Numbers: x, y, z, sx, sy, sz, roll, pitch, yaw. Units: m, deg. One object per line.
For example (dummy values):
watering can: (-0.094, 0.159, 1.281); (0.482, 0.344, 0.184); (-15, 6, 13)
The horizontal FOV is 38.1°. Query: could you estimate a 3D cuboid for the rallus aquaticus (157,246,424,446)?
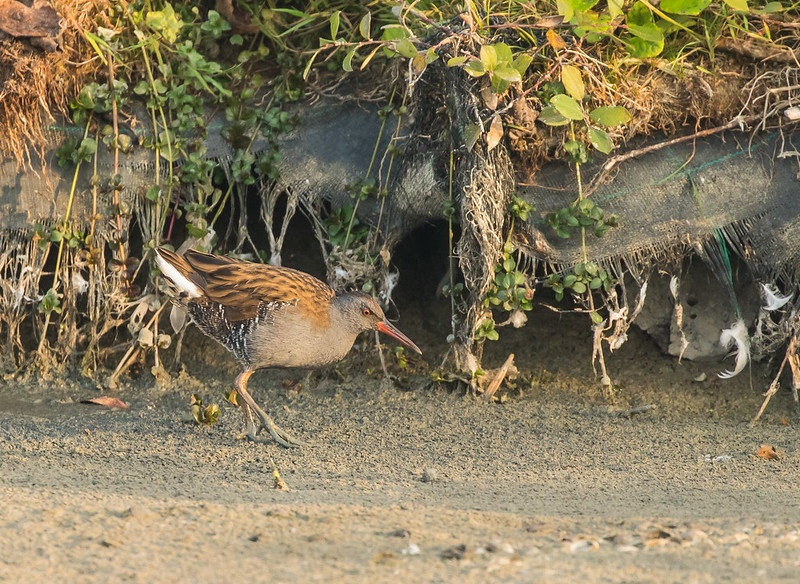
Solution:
rallus aquaticus: (-0.656, 0.343, 6.658); (1.085, 0.606, 0.328); (13, -2, 2)
